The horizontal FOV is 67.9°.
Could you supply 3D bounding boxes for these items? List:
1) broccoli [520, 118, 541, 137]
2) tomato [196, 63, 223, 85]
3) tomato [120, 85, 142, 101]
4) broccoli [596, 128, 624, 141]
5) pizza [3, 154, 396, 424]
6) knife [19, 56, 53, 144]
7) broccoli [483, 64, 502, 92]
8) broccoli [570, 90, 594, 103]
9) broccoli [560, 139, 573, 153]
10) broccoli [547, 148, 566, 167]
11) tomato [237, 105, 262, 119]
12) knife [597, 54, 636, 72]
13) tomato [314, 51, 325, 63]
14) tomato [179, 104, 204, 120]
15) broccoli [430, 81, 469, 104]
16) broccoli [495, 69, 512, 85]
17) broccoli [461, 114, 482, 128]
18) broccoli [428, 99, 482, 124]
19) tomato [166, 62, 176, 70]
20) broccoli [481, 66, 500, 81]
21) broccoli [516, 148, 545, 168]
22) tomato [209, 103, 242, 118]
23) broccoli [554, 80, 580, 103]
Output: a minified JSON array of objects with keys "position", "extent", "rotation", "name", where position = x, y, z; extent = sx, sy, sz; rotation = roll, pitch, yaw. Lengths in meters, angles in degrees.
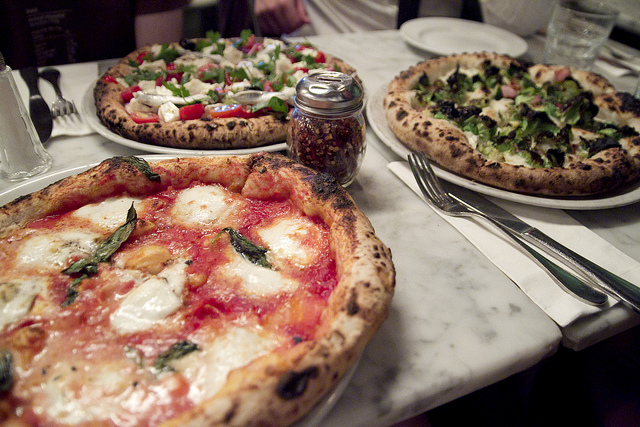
[{"position":[0.928,-0.379,2.096],"extent":[0.064,0.024,0.090],"rotation":[44,93,14],"name":"broccoli"},{"position":[-0.573,-0.725,2.469],"extent":[0.146,0.079,0.140],"rotation":[-8,55,4],"name":"tomato"},{"position":[-0.872,-0.562,2.195],"extent":[0.083,0.049,0.081],"rotation":[-11,44,-13],"name":"tomato"},{"position":[1.278,-0.350,2.090],"extent":[0.072,0.038,0.100],"rotation":[-8,46,-16],"name":"broccoli"},{"position":[-0.367,0.179,1.385],"extent":[1.129,0.315,0.847],"rotation":[-2,45,-10],"name":"pizza"},{"position":[-1.286,-0.519,2.129],"extent":[0.083,0.043,0.622],"rotation":[9,32,-46],"name":"knife"},{"position":[0.902,-0.707,2.482],"extent":[0.118,0.043,0.145],"rotation":[-2,59,1],"name":"broccoli"},{"position":[1.221,-0.537,2.222],"extent":[0.079,0.032,0.098],"rotation":[-29,22,-18],"name":"broccoli"},{"position":[1.060,-0.288,2.039],"extent":[0.050,0.021,0.057],"rotation":[-20,47,-19],"name":"broccoli"},{"position":[0.965,-0.227,1.930],"extent":[0.059,0.022,0.073],"rotation":[-2,66,0],"name":"broccoli"},{"position":[-0.304,-0.430,2.042],"extent":[0.065,0.028,0.071],"rotation":[0,27,-2],"name":"tomato"},{"position":[1.759,-0.892,2.825],"extent":[0.019,0.039,0.277],"rotation":[0,33,-40],"name":"knife"},{"position":[0.001,-0.878,2.664],"extent":[0.065,0.059,0.059],"rotation":[4,15,7],"name":"tomato"},{"position":[-0.544,-0.432,2.018],"extent":[0.077,0.047,0.076],"rotation":[-20,39,-23],"name":"tomato"},{"position":[0.664,-0.612,2.397],"extent":[0.198,0.069,0.143],"rotation":[-6,24,27],"name":"broccoli"},{"position":[0.956,-0.727,2.493],"extent":[0.070,0.042,0.087],"rotation":[-5,56,17],"name":"broccoli"},{"position":[0.673,-0.406,2.101],"extent":[0.077,0.034,0.061],"rotation":[11,44,3],"name":"broccoli"},{"position":[0.608,-0.460,2.194],"extent":[0.126,0.073,0.185],"rotation":[-32,43,-28],"name":"broccoli"},{"position":[-0.785,-0.777,2.510],"extent":[0.051,0.030,0.051],"rotation":[30,45,33],"name":"tomato"},{"position":[0.898,-0.743,2.505],"extent":[0.070,0.026,0.089],"rotation":[4,53,35],"name":"broccoli"},{"position":[0.868,-0.236,1.945],"extent":[0.073,0.022,0.090],"rotation":[2,32,-4],"name":"broccoli"},{"position":[-0.411,-0.452,2.062],"extent":[0.138,0.032,0.097],"rotation":[-2,45,-11],"name":"tomato"},{"position":[1.211,-0.604,2.334],"extent":[0.102,0.051,0.126],"rotation":[-6,65,23],"name":"broccoli"}]
